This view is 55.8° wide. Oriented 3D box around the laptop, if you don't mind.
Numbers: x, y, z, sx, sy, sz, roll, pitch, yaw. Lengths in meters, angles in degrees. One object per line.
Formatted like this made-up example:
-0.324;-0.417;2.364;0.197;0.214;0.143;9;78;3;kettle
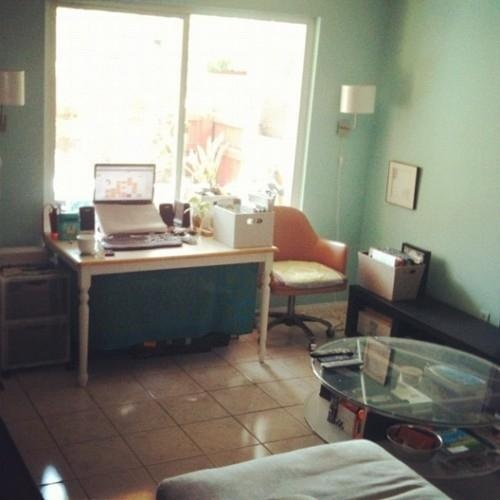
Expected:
-0.807;-0.289;3.226;0.554;0.532;0.455;-5;24;-26;laptop

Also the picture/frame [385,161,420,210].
1.238;-0.530;3.858;0.060;0.384;0.356;-1;11;-19;picture/frame

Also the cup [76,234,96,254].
-0.942;-0.038;2.747;0.109;0.088;0.116;1;4;0;cup

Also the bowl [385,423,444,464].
0.779;0.900;2.193;0.294;0.102;0.238;2;10;-3;bowl

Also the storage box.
-0.038;-0.164;3.232;0.320;0.197;0.320;-3;17;-16;storage box

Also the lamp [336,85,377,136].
0.870;-1.155;3.937;0.272;0.406;0.393;4;10;9;lamp

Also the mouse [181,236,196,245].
-0.401;-0.069;3.149;0.070;0.026;0.070;12;15;12;mouse

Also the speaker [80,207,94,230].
-1.045;-0.205;3.049;0.088;0.157;0.088;1;11;-13;speaker

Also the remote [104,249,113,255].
-0.823;0.016;2.771;0.054;0.025;0.064;0;11;-17;remote
